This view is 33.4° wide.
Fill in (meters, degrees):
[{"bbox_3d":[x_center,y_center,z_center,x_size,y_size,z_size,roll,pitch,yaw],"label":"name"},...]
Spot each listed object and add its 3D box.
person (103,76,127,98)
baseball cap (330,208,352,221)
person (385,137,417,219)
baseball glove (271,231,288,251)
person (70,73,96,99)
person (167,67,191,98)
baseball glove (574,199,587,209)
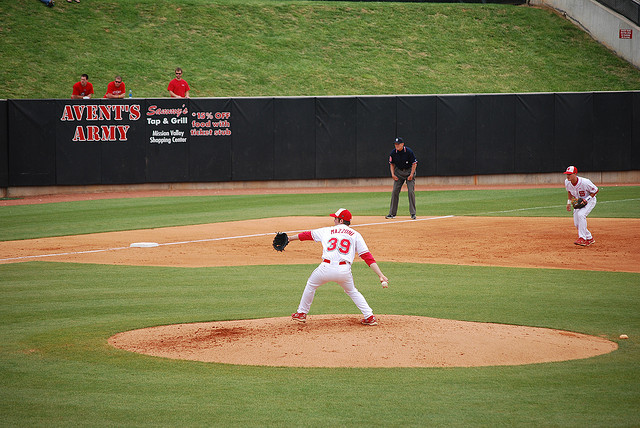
[{"bbox_3d":[-8.758,-5.394,45.601,0.840,0.906,1.179,-2,6,-10],"label":"person"},{"bbox_3d":[0.601,0.041,30.187,0.512,0.225,0.320,15,11,16],"label":"baseball cap"},{"bbox_3d":[3.078,-1.310,39.792,1.095,2.953,1.135,0,7,4],"label":"person"},{"bbox_3d":[-1.071,0.816,30.357,0.523,0.507,0.264,4,-10,15],"label":"baseball glove"},{"bbox_3d":[-10.102,-5.369,45.282,0.873,1.031,0.951,0,6,2],"label":"person"},{"bbox_3d":[-6.167,-5.672,46.341,0.809,1.304,1.902,-2,6,-9],"label":"person"},{"bbox_3d":[8.800,-0.309,35.860,0.473,0.312,0.133,-3,7,-25],"label":"baseball glove"}]
